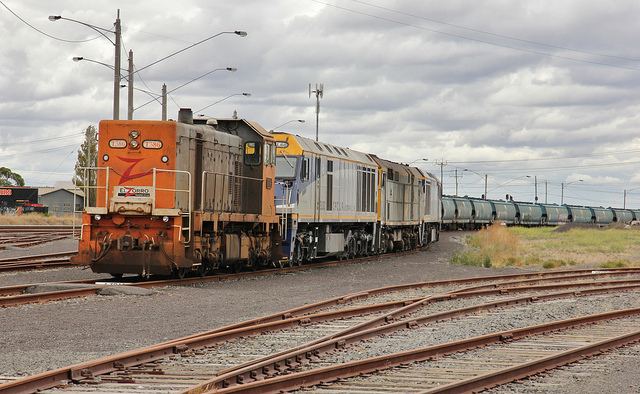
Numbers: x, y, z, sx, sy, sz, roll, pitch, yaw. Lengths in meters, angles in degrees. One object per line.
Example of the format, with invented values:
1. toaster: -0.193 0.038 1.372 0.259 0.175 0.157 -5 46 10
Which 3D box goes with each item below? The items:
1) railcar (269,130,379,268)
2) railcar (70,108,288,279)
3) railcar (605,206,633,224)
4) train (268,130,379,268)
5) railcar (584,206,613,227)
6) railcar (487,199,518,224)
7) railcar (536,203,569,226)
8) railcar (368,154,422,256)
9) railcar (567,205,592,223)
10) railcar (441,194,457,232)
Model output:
1. railcar: -0.199 0.221 29.259 2.907 5.128 10.716 3 -1 23
2. railcar: -4.575 0.013 21.298 3.096 5.958 6.675 6 7 34
3. railcar: 39.564 2.577 82.996 2.023 3.009 8.769 -4 -6 40
4. train: 0.394 0.134 27.544 3.721 4.351 12.087 0 -2 27
5. railcar: 35.638 2.652 80.209 2.375 3.447 9.096 -4 -5 35
6. railcar: 22.026 1.737 72.395 2.058 2.852 7.321 -7 0 -16
7. railcar: 28.544 2.270 77.025 2.424 3.181 8.209 -3 -5 33
8. railcar: 4.033 0.655 34.517 2.951 5.414 8.411 1 0 20
9. railcar: 32.789 2.278 79.120 1.866 2.848 7.496 -4 -6 34
10. railcar: 12.918 1.729 62.242 1.420 3.587 5.487 4 6 12
